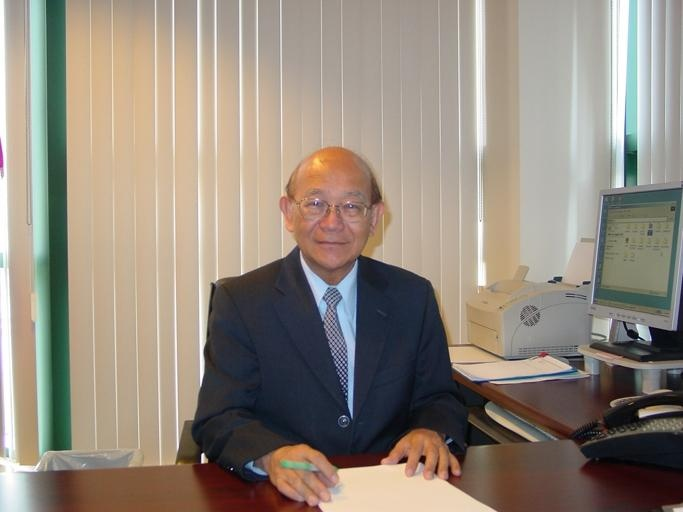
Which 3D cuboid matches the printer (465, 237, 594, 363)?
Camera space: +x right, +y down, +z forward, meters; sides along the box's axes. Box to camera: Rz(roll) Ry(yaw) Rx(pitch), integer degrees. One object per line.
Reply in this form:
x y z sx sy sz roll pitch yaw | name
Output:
0.845 0.204 2.842 0.513 0.545 0.497 1 -2 -7 | printer

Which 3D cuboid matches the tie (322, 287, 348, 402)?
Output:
-0.022 0.265 1.876 0.061 0.377 0.042 -2 -22 -9 | tie

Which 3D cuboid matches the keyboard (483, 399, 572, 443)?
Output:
0.642 0.619 2.162 0.078 0.034 0.236 -7 12 -20 | keyboard
